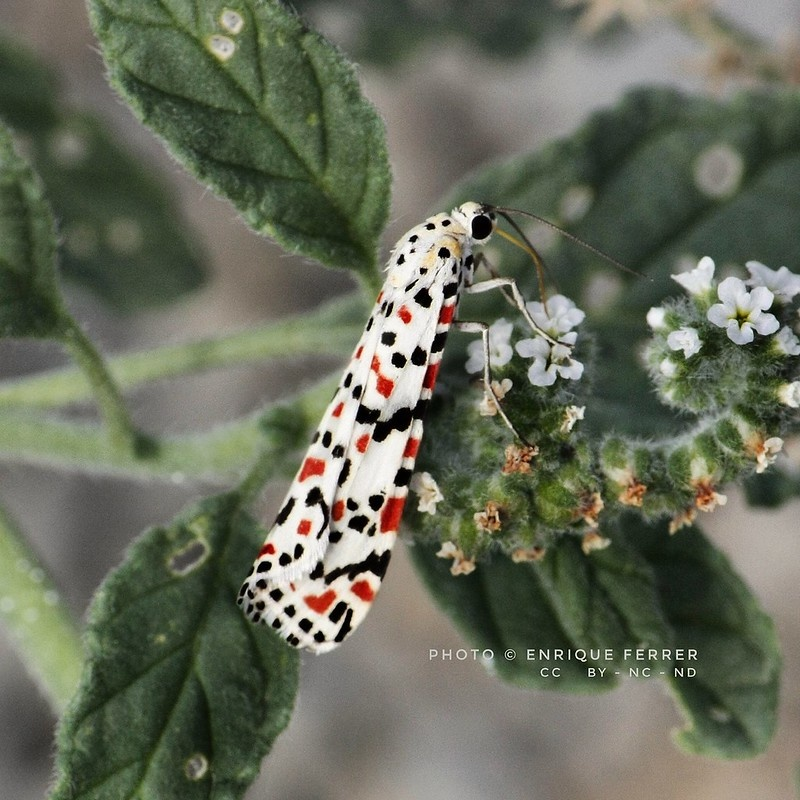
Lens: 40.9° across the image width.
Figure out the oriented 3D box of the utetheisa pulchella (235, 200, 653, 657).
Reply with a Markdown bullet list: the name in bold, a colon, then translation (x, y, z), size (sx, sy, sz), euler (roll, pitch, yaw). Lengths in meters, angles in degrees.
- **utetheisa pulchella**: translation (-0.037, 0.054, 2.249), size (0.248, 0.314, 0.961), euler (22, 67, 17)
